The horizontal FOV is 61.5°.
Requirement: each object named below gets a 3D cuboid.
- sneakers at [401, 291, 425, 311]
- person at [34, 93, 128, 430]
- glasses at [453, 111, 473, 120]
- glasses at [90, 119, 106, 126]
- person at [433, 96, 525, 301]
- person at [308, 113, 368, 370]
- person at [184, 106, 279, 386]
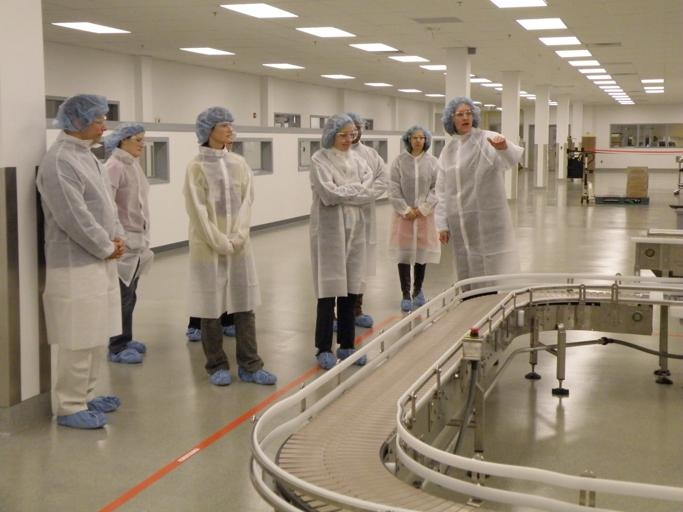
[{"bbox_3d":[0.751,0.487,6.014,0.117,0.122,0.278,-13,-2,33],"label":"sneakers"},{"bbox_3d":[-1.561,0.040,3.542,0.490,2.030,0.434,-5,11,-29],"label":"person"},{"bbox_3d":[0.934,-1.087,4.420,0.130,0.072,0.090,2,11,6],"label":"glasses"},{"bbox_3d":[-1.483,-0.822,3.526,0.045,0.022,0.052,-5,-14,-25],"label":"glasses"},{"bbox_3d":[1.056,-0.507,4.504,0.336,1.433,0.775,-7,12,-40],"label":"person"},{"bbox_3d":[0.016,-0.101,4.376,0.477,1.909,0.447,-1,9,-10],"label":"person"},{"bbox_3d":[-0.815,-0.053,4.105,0.549,1.971,0.437,-2,10,-14],"label":"person"}]
